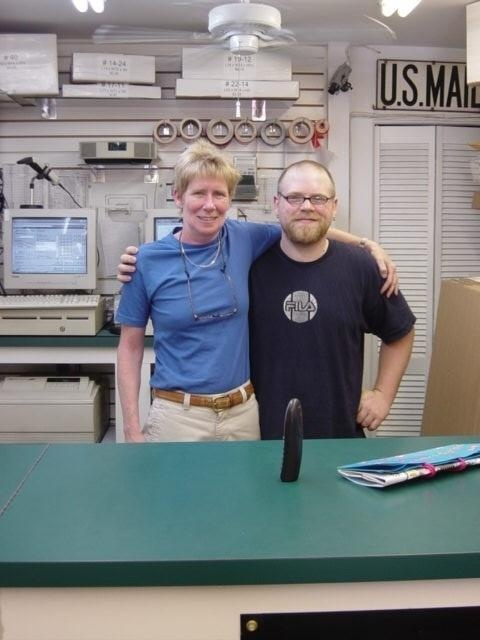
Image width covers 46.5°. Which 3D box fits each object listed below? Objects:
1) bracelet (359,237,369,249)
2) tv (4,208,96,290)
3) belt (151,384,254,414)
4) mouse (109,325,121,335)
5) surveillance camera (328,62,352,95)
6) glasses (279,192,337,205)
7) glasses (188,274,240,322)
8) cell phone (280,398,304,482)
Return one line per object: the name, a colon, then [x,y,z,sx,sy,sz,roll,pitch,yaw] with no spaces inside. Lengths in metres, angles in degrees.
bracelet: [0.444,-0.274,1.986,0.023,0.038,0.034,-10,9,21]
tv: [-1.119,-0.416,3.271,0.531,0.459,0.069,-1,7,-5]
belt: [-0.110,0.234,1.723,0.317,0.066,0.136,-1,7,-5]
mouse: [-0.707,0.059,3.124,0.060,0.028,0.062,10,17,-6]
surveillance camera: [0.634,-1.531,3.595,0.148,0.219,0.078,13,20,-20]
glasses: [0.203,-0.378,1.740,0.162,0.047,0.083,0,7,1]
glasses: [-0.083,-0.064,1.708,0.156,0.135,0.072,-1,7,-6]
cell phone: [0.098,0.226,1.059,0.067,0.137,0.106,0,5,0]
